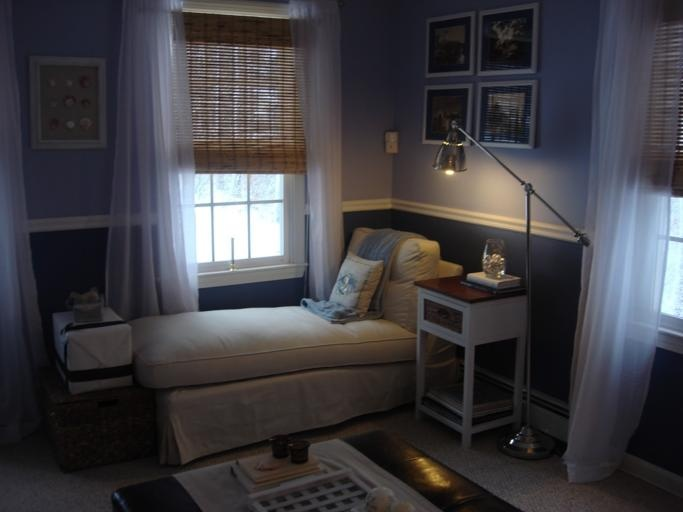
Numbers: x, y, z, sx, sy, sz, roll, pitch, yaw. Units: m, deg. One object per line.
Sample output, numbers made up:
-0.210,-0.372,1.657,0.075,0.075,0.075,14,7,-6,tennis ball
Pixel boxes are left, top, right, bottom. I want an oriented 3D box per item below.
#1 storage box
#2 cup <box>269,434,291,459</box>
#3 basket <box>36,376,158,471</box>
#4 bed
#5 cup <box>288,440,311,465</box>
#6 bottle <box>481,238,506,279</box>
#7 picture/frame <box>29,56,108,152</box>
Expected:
-1.339,0.936,2.977,0.490,0.322,0.494,-2,9,-16,storage box
-0.262,0.780,2.216,0.076,0.076,0.078,0,0,0,cup
-1.333,0.948,2.974,0.483,0.316,0.487,-2,10,-16,basket
-0.411,0.610,3.393,1.451,0.702,0.834,-2,6,-25,bed
-0.171,0.786,2.167,0.076,0.063,0.083,0,3,0,cup
0.927,0.006,3.245,0.138,0.229,0.123,1,14,0,bottle
-1.732,-0.969,3.347,0.578,0.753,0.051,-2,5,-26,picture/frame
